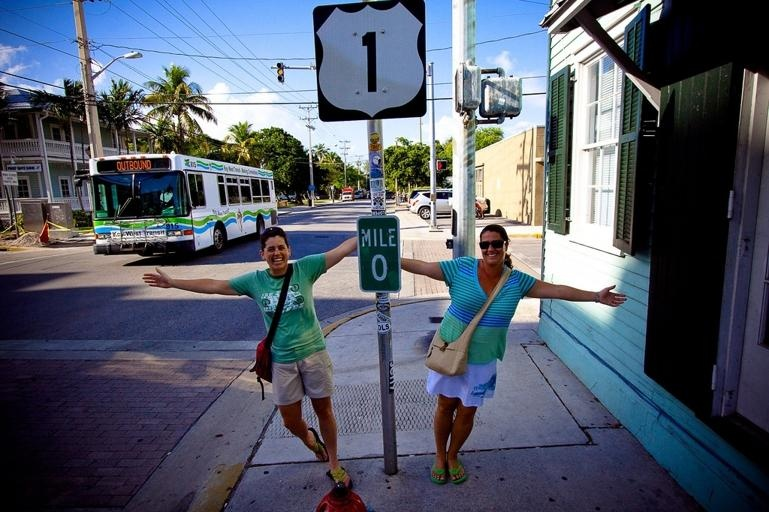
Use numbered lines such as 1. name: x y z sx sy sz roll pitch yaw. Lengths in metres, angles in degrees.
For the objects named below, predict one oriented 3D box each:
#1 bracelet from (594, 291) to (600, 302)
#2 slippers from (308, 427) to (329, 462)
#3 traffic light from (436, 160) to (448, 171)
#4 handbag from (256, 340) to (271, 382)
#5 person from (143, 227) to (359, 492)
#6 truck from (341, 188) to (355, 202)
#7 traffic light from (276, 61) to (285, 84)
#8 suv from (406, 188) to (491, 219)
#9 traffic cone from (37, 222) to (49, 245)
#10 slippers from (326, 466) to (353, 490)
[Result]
1. bracelet: 1.878 0.360 4.281 0.028 0.075 0.056 2 2 -8
2. slippers: -0.619 1.851 4.774 0.139 0.402 0.147 -17 10 6
3. traffic light: 2.187 -3.483 18.548 0.394 0.427 1.121 0 10 3
4. handbag: -1.080 0.929 4.363 0.140 0.377 0.137 -3 9 -13
5. person: -0.933 0.905 4.525 1.401 2.344 0.505 1 9 14
6. truck: -5.704 -9.156 72.436 1.444 1.904 3.760 -2 7 1
7. traffic light: -4.094 -7.191 19.173 0.204 0.955 1.777 -3 10 -13
8. suv: 3.705 -2.658 28.069 4.487 1.740 2.212 -3 11 -3
9. traffic cone: -13.281 -0.926 18.914 0.358 0.816 1.071 -7 12 -35
10. slippers: -0.377 2.008 4.344 0.133 0.118 0.293 2 -1 -15
